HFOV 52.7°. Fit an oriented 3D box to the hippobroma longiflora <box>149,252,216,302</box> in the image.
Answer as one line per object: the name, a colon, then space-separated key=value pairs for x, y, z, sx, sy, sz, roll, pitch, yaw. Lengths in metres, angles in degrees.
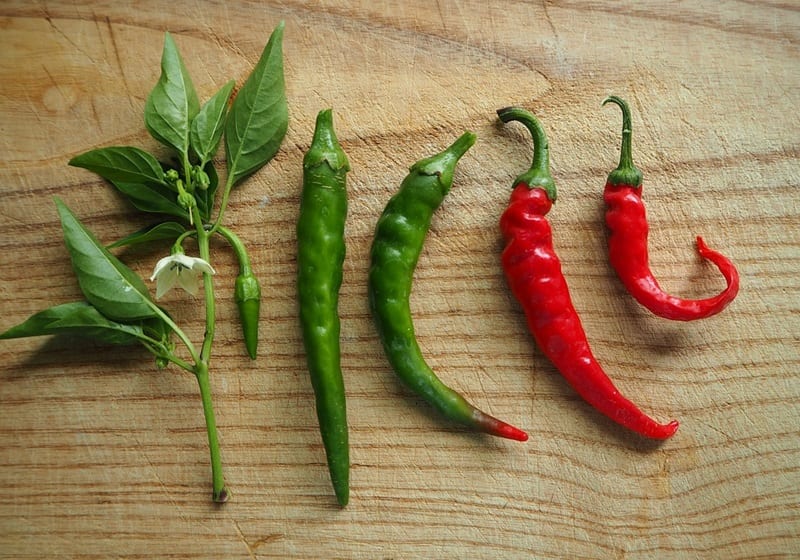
hippobroma longiflora: x=-0.702 y=-0.018 z=2.556 sx=0.179 sy=0.162 sz=0.076 roll=-10 pitch=52 yaw=-19
